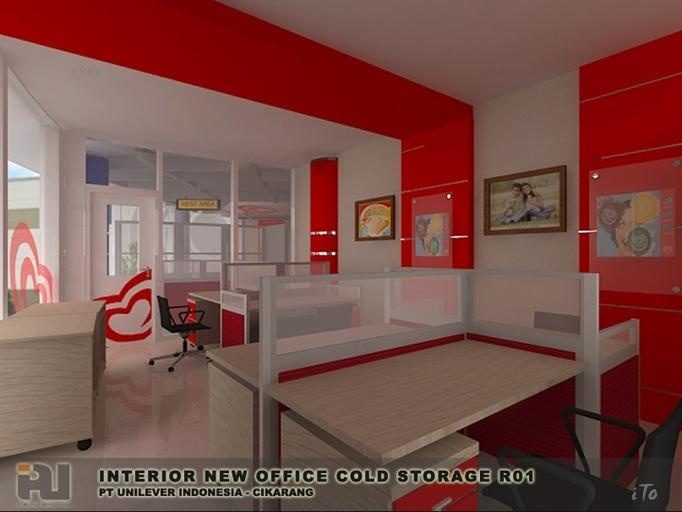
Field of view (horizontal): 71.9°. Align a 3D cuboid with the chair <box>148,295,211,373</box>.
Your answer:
[{"bbox_3d":[-2.055,0.959,6.111,0.797,0.878,0.776,3,-1,-30],"label":"chair"}]

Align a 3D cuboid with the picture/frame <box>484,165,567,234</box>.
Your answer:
[{"bbox_3d":[2.133,-0.639,5.344,0.032,0.602,0.775,5,-4,-45],"label":"picture/frame"}]

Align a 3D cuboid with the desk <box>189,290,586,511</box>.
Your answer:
[{"bbox_3d":[0.292,0.795,3.379,1.812,1.225,1.863,-3,4,-38],"label":"desk"}]

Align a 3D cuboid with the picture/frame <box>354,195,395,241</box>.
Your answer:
[{"bbox_3d":[0.513,-0.567,7.243,0.780,0.669,0.058,-9,13,-35],"label":"picture/frame"}]
